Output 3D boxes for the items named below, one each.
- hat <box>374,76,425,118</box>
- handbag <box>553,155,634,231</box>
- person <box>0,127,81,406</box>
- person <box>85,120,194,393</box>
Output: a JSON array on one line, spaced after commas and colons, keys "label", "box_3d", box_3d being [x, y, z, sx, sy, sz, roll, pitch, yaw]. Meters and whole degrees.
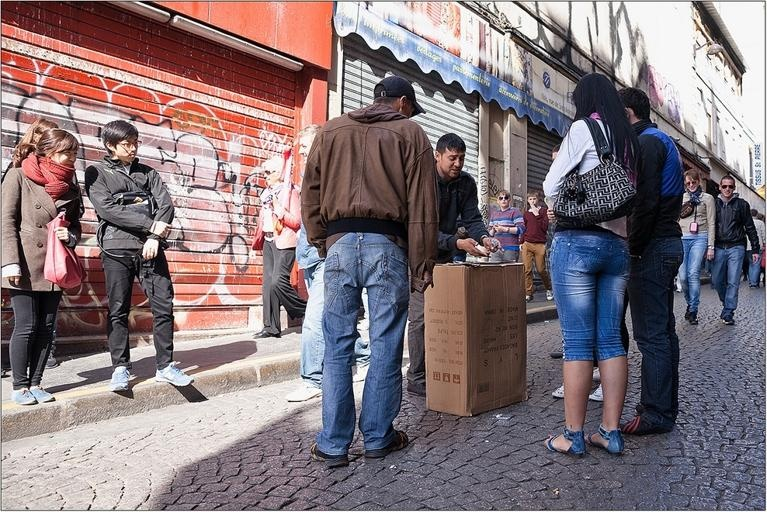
[{"label": "hat", "box_3d": [0.168, -1.397, 4.505, 0.433, 0.230, 0.273, 3, 6, -33]}, {"label": "handbag", "box_3d": [1.596, -0.488, 3.904, 0.538, 0.530, 0.274, -4, -1, 32]}, {"label": "person", "box_3d": [-3.300, 0.028, 5.054, 0.670, 2.644, 0.681, -3, 4, -31]}, {"label": "person", "box_3d": [-2.575, 0.001, 5.452, 0.877, 2.832, 0.625, -3, 4, -23]}]
